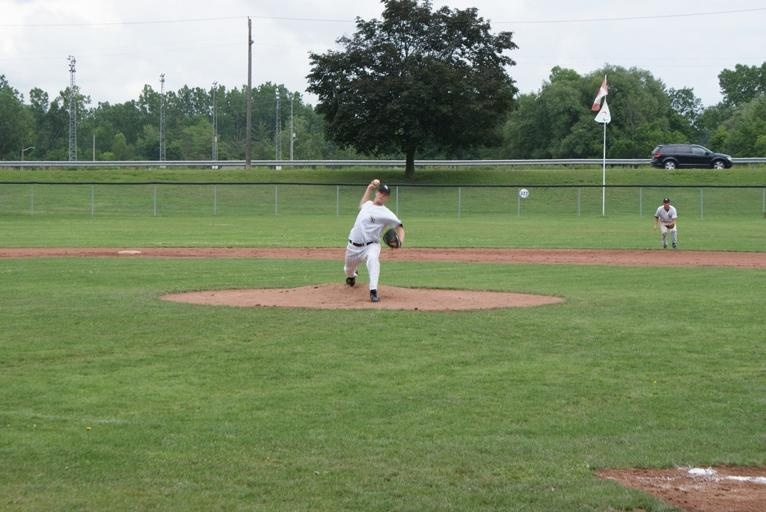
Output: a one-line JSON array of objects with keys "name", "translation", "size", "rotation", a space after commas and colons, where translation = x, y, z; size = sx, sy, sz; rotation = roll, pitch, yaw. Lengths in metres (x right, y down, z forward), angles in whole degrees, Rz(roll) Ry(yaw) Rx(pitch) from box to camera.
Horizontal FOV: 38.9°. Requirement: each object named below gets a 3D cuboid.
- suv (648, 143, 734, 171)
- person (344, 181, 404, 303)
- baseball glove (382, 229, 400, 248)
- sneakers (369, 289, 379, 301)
[{"name": "suv", "translation": [17.657, -5.654, 62.280], "size": [4.506, 1.267, 1.727], "rotation": [0, 9, 7]}, {"name": "person", "translation": [-0.195, -0.346, 23.465], "size": [1.181, 2.582, 1.459], "rotation": [0, 3, -3]}, {"name": "baseball glove", "translation": [0.202, -0.354, 23.176], "size": [0.435, 0.300, 0.331], "rotation": [42, -9, -10]}, {"name": "sneakers", "translation": [-0.167, 0.836, 22.969], "size": [0.180, 0.240, 0.320], "rotation": [0, 3, -3]}]
